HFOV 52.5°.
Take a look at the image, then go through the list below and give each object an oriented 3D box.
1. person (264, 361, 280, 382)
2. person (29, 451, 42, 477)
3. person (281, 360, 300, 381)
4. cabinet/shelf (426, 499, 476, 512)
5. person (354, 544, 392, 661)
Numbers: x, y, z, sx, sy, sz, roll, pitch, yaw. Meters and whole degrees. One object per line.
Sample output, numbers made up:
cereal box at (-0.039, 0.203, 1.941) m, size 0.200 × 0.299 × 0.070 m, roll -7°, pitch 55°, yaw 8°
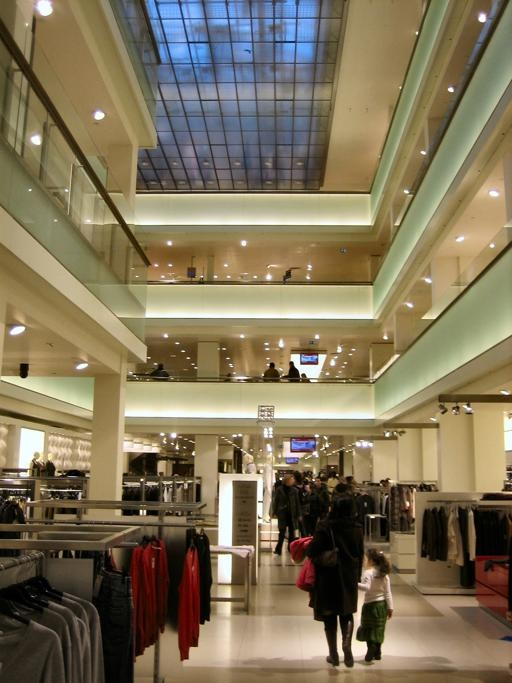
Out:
person at (0.507, 1.109, 18.105) m, size 0.557 × 0.855 × 1.476 m, roll 0°, pitch -14°, yaw 0°
person at (-4.213, 2.348, 9.978) m, size 0.233 × 0.460 × 1.780 m, roll 6°, pitch -16°, yaw -22°
person at (1.272, 1.092, 17.934) m, size 0.529 × 0.908 × 0.680 m, roll 6°, pitch -2°, yaw -42°
cabinet/shelf at (3.078, 2.573, 8.135) m, size 0.470 × 0.202 × 0.859 m, roll 10°, pitch -18°, yaw -35°
person at (1.107, 2.515, 4.904) m, size 0.328 × 1.019 × 0.708 m, roll -3°, pitch -15°, yaw 12°
